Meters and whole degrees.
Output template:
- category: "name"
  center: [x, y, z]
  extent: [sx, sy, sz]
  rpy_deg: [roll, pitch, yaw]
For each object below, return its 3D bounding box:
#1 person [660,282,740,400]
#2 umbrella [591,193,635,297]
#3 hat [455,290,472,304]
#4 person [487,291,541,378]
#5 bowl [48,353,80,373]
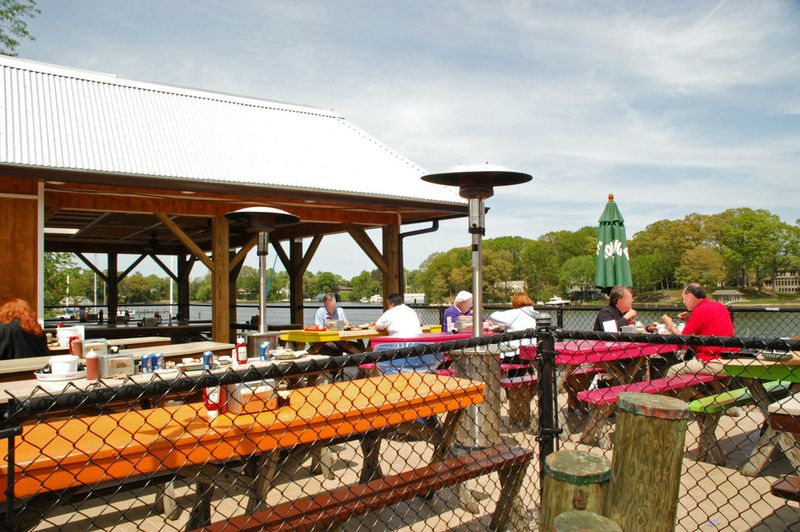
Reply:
- category: "person"
  center: [4.264, 1.190, 9.896]
  extent: [0.803, 1.767, 0.991]
  rpy_deg: [0, -6, -29]
- category: "umbrella"
  center: [4.257, -0.453, 14.227]
  extent: [0.676, 2.066, 1.690]
  rpy_deg: [-3, 0, 17]
- category: "hat"
  center: [1.061, 0.536, 11.832]
  extent: [0.244, 0.203, 0.181]
  rpy_deg: [-36, 5, 11]
- category: "person"
  center: [1.904, 1.332, 11.180]
  extent: [0.701, 2.091, 0.647]
  rpy_deg: [-10, 20, -14]
- category: "bowl"
  center: [-3.819, 1.111, 8.034]
  extent: [0.230, 0.155, 0.226]
  rpy_deg: [-1, -10, 0]
